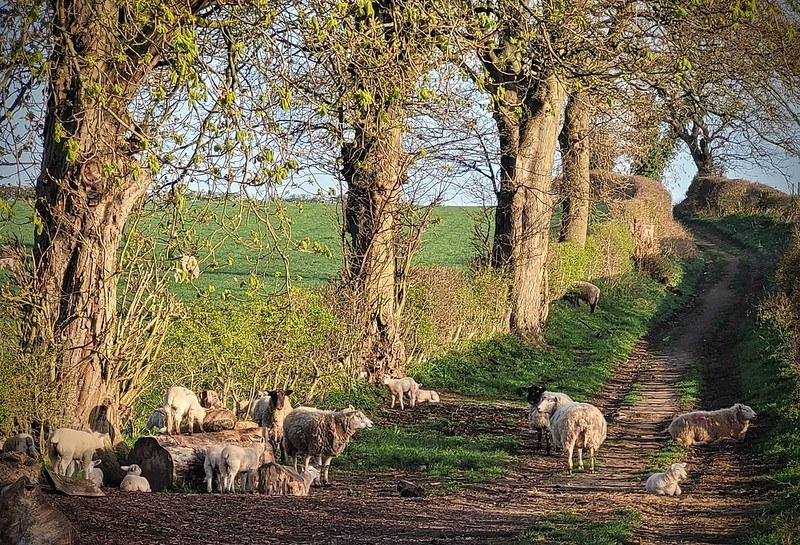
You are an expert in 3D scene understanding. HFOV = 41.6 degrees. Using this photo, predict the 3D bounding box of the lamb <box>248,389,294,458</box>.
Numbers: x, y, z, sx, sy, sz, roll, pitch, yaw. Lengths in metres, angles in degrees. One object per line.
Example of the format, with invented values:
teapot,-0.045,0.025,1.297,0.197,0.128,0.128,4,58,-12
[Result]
lamb,-2.625,2.946,21.575,0.534,1.128,1.862,-1,-3,-11

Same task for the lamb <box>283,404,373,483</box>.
lamb,-1.535,3.484,20.952,1.885,1.589,0.914,0,-4,29

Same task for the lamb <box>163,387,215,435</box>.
lamb,-4.262,2.722,20.893,0.917,0.982,0.692,-1,8,-34

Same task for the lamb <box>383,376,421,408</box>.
lamb,0.006,3.067,26.794,0.864,0.758,0.711,4,7,0

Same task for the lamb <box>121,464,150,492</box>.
lamb,-4.868,3.816,19.352,0.377,0.428,0.569,2,4,-2

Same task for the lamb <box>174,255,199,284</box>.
lamb,-3.820,-0.066,18.728,0.390,0.555,0.253,-8,-16,-11

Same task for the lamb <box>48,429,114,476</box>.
lamb,-5.871,3.335,19.216,0.524,0.922,1.300,-5,-9,27

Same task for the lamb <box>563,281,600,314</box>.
lamb,7.186,0.979,41.774,1.313,1.127,1.158,6,7,17

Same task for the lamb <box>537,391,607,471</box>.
lamb,3.802,3.600,23.343,1.013,1.582,2.066,2,-4,-7

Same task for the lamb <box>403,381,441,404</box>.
lamb,0.557,3.142,27.108,1.124,0.627,0.406,10,-10,-38

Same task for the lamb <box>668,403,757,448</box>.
lamb,7.296,3.689,24.906,2.358,1.147,0.809,-5,3,-1

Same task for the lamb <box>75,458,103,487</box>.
lamb,-5.668,3.738,19.447,0.321,0.492,0.648,4,-26,-2

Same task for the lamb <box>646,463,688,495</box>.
lamb,5.336,4.100,21.005,0.760,0.630,0.494,0,4,19
